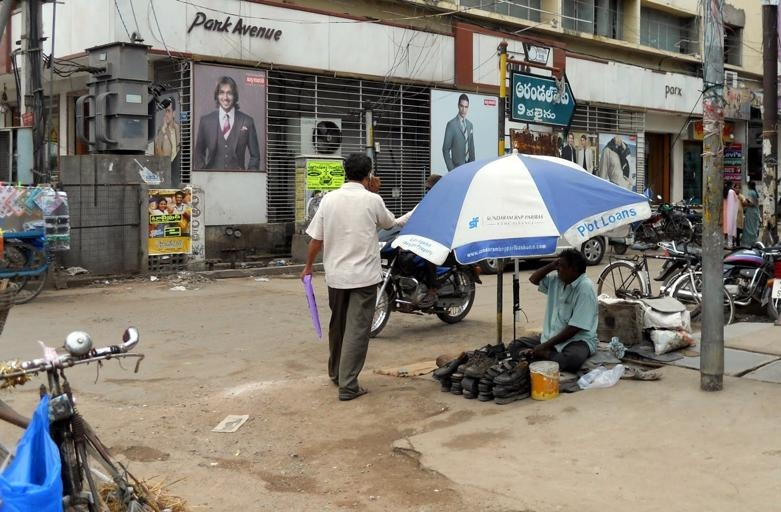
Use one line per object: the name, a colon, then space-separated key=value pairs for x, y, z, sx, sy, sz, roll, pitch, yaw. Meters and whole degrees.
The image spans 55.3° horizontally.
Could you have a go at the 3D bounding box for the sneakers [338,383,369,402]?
sneakers: x=-0.418 y=1.500 z=8.292 sx=0.127 sy=0.149 sz=0.369 roll=3 pitch=5 yaw=30

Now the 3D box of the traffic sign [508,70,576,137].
traffic sign: x=2.340 y=-2.497 z=11.658 sx=1.514 sy=0.833 sz=0.310 roll=-2 pitch=4 yaw=-44

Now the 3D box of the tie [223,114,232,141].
tie: x=-3.945 y=-3.130 z=18.031 sx=0.176 sy=0.572 sz=0.039 roll=-2 pitch=4 yaw=-44

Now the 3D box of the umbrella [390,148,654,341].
umbrella: x=1.375 y=-0.532 z=8.069 sx=2.493 sy=1.195 sz=0.973 roll=1 pitch=3 yaw=-2

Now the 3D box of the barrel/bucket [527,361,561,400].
barrel/bucket: x=1.673 y=1.339 z=8.078 sx=0.356 sy=0.350 sz=0.368 roll=-2 pitch=0 yaw=0

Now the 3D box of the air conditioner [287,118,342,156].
air conditioner: x=-1.987 y=-3.235 z=19.905 sx=0.386 sy=1.092 sz=1.683 roll=4 pitch=4 yaw=42

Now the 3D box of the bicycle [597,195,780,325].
bicycle: x=4.515 y=0.243 z=11.819 sx=2.698 sy=1.562 sz=1.339 roll=-2 pitch=6 yaw=13

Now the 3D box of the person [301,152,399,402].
person: x=-0.458 y=0.191 z=8.544 sx=0.715 sy=2.747 sz=0.742 roll=3 pitch=4 yaw=41
